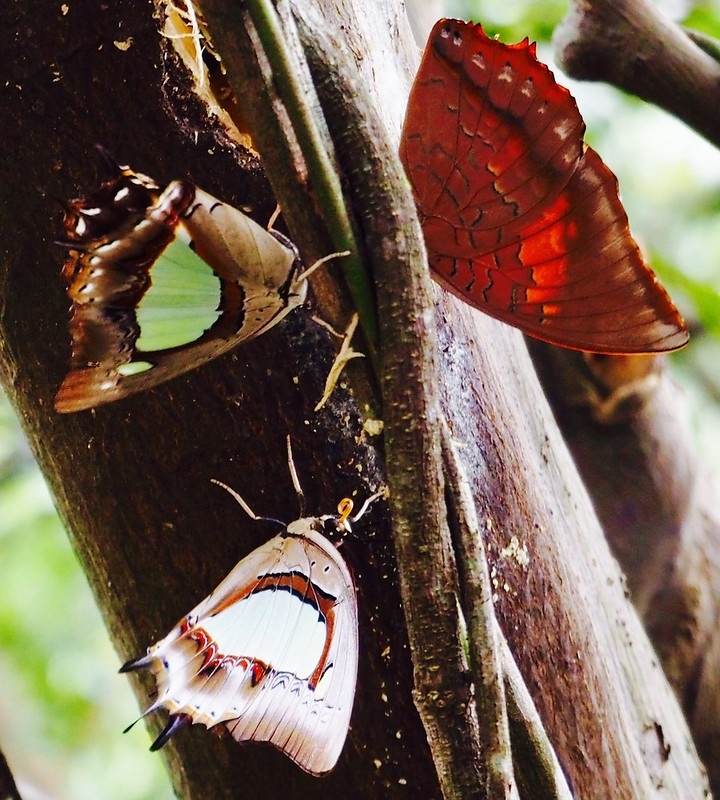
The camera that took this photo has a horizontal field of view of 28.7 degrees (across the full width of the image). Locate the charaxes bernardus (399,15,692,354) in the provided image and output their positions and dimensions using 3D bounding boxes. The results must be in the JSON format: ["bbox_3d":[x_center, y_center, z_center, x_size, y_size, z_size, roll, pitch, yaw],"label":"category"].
[{"bbox_3d":[0.147,-0.146,1.118,0.297,0.157,0.147,40,72,7],"label":"charaxes bernardus"}]

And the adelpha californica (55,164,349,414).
[{"bbox_3d":[-0.118,-0.091,1.076,0.183,0.198,0.129,-11,78,3],"label":"adelpha californica"}]

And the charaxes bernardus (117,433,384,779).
[{"bbox_3d":[-0.092,0.176,1.157,0.191,0.082,0.236,10,72,-2],"label":"charaxes bernardus"}]
